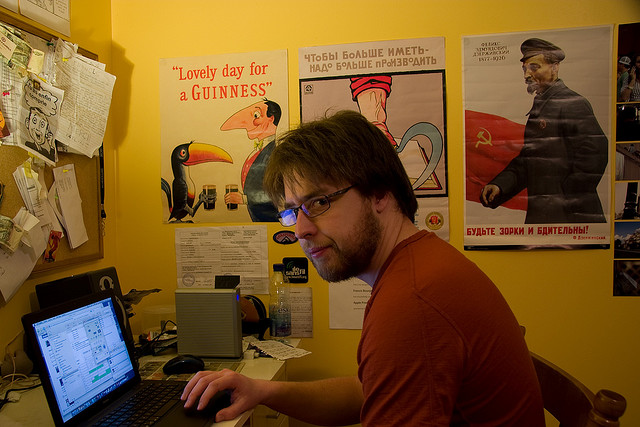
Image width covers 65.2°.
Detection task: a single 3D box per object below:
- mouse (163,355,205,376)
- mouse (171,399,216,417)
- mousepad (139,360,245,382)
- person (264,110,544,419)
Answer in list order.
[{"bbox_3d":[-0.623,0.704,2.302,0.148,0.055,0.089,1,-2,-5],"label":"mouse"},{"bbox_3d":[-0.512,0.788,1.991,0.101,0.072,0.026,3,-39,27],"label":"mouse"},{"bbox_3d":[-0.704,0.742,2.373,0.187,0.048,0.182,0,-2,4],"label":"mousepad"},{"bbox_3d":[0.291,0.159,1.799,0.894,1.100,0.441,-2,2,-6],"label":"person"}]
